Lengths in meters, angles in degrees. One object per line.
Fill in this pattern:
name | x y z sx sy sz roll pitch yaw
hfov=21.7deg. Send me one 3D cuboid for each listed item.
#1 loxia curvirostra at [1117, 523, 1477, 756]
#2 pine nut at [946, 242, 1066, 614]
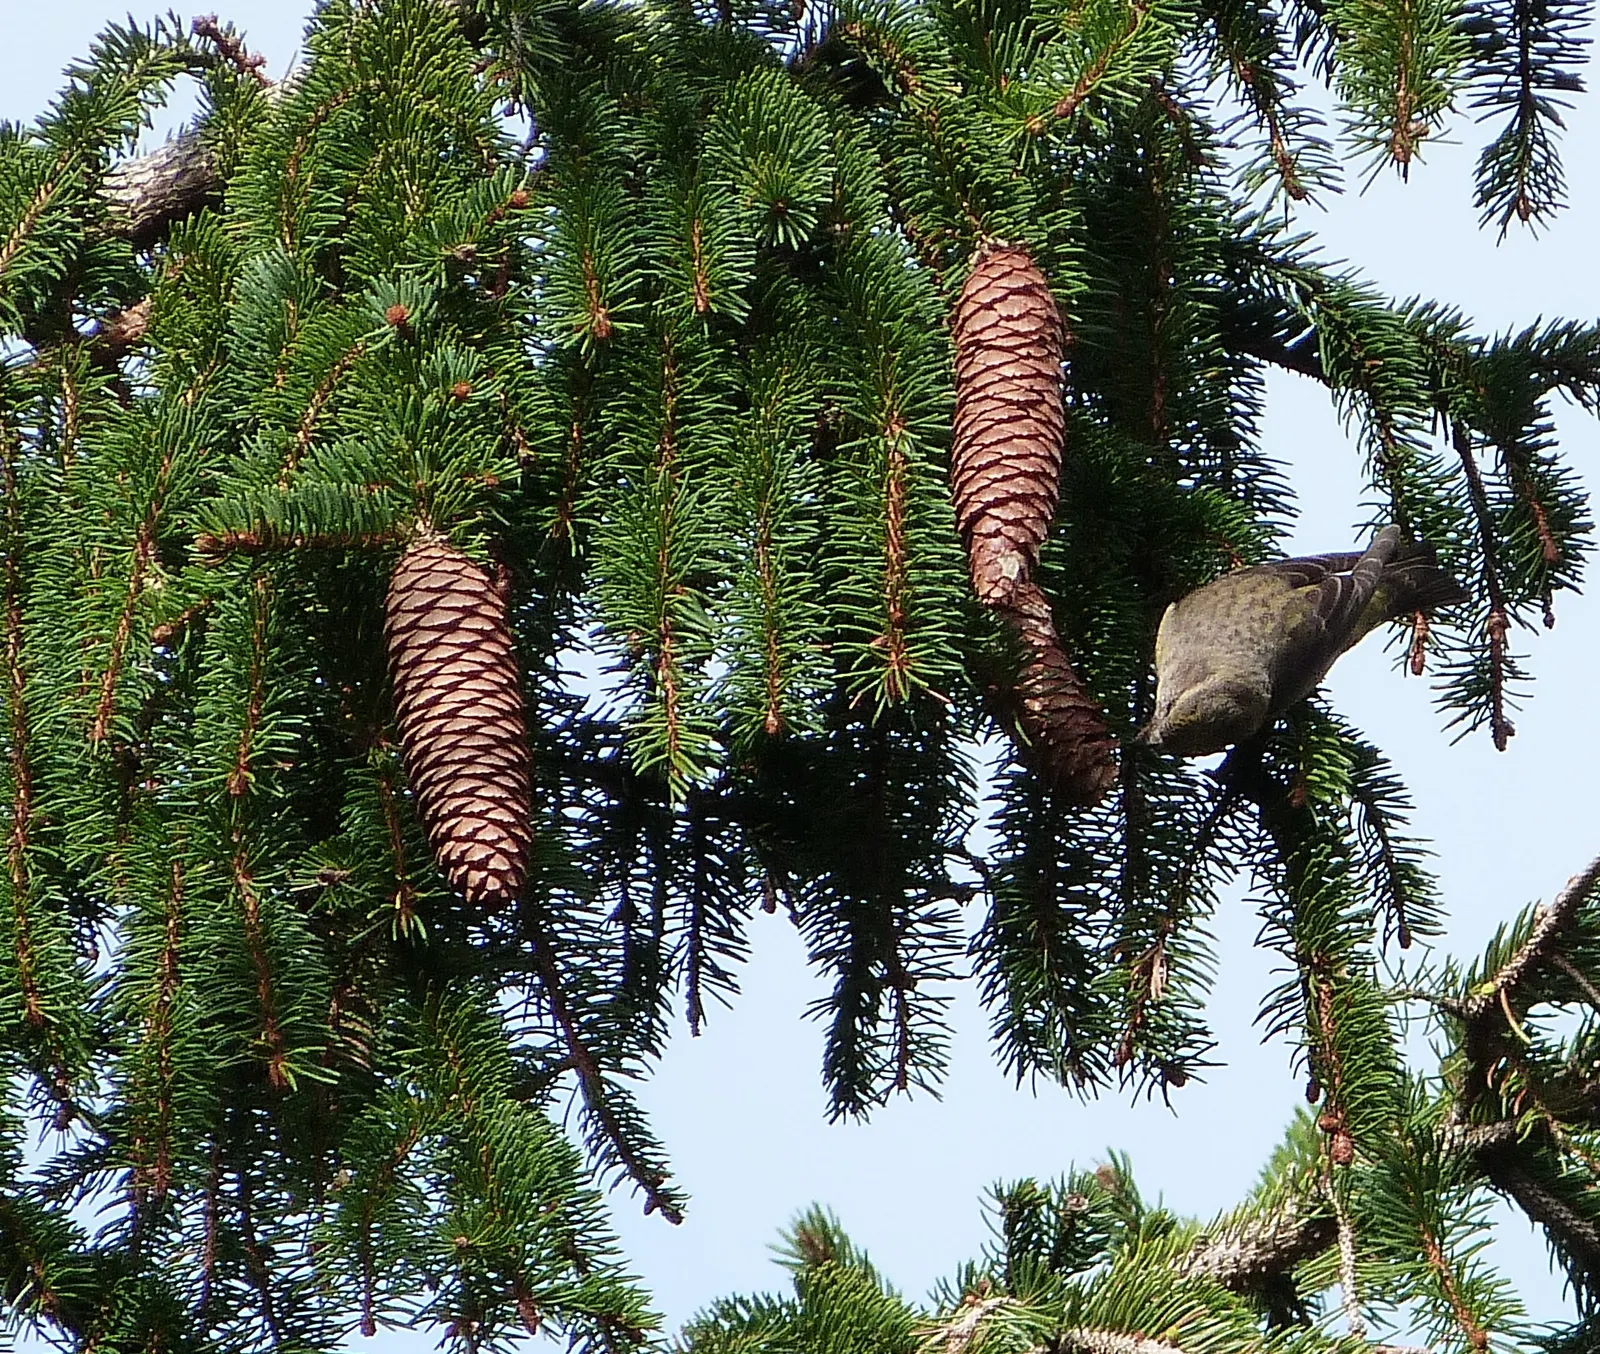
loxia curvirostra | 0.598 -0.057 5.258 0.305 0.139 0.118 -34 -85 18
pine nut | 0.255 -0.314 5.126 0.142 0.476 0.147 3 -38 3
